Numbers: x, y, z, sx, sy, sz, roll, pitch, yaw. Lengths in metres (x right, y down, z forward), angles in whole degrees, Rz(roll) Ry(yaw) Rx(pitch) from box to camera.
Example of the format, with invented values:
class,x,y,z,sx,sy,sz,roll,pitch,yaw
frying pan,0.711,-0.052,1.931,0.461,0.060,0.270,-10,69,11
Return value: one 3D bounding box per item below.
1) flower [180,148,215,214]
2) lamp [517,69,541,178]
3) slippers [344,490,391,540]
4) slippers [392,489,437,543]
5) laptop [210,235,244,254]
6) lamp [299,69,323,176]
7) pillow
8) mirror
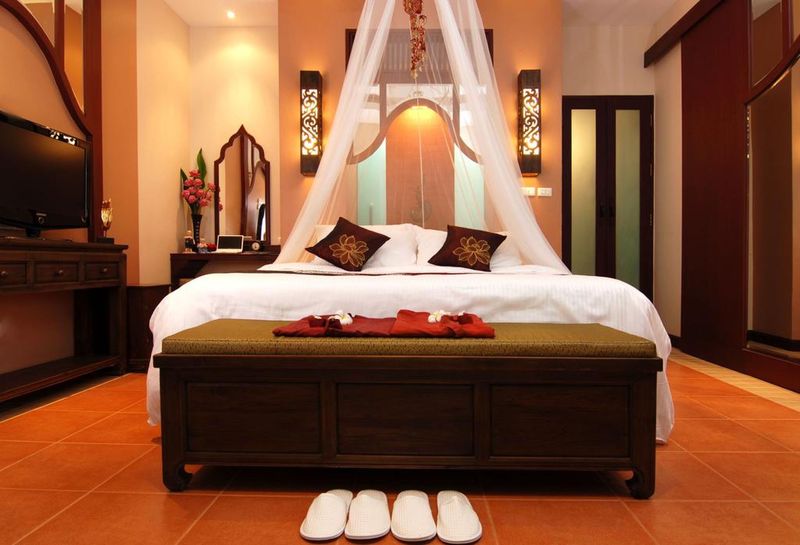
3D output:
class,x,y,z,sx,sy,sz,roll,pitch,yaw
flower,-2.171,-0.976,6.543,0.339,0.682,0.427,-1,7,-7
lamp,1.258,-1.474,6.075,0.233,1.026,0.196,1,7,10
slippers,-0.180,1.281,3.280,0.238,0.158,0.234,-1,7,-4
slippers,0.064,1.283,3.270,0.238,0.167,0.235,0,7,0
laptop,-1.793,-0.296,6.430,0.245,0.149,0.190,1,1,-8
lamp,-0.891,-1.476,6.116,0.228,1.018,0.156,-1,7,-8
pillow,0.089,-0.201,5.080,1.923,0.364,0.463,-1,31,-4
mirror,-1.721,-0.948,6.623,0.623,1.254,0.248,-1,7,-8
